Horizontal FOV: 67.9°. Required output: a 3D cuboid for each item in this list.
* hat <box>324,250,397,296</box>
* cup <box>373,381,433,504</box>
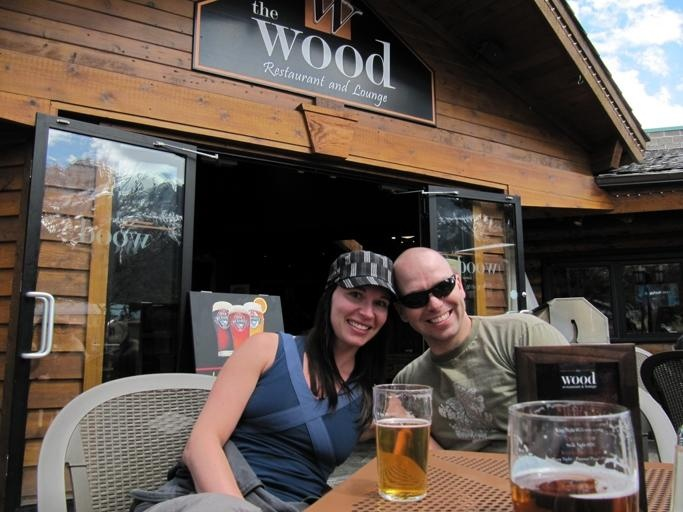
[{"bbox_3d":[0.099,0.072,2.192,0.290,0.172,0.375,7,-9,-20],"label":"hat"},{"bbox_3d":[0.161,0.479,1.302,0.148,0.267,0.094,-2,-6,5],"label":"cup"}]
